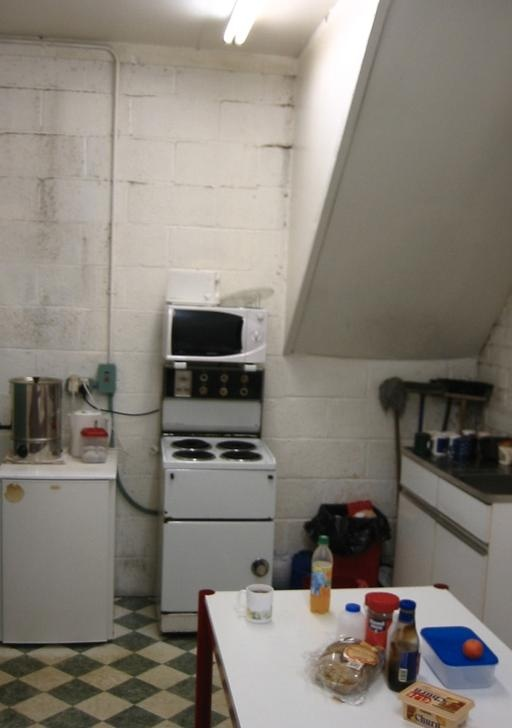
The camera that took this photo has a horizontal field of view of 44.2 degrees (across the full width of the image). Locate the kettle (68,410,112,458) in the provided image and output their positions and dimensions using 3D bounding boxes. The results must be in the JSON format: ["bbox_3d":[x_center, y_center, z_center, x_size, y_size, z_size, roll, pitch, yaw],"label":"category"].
[{"bbox_3d":[-0.821,0.326,3.015,0.271,0.256,0.144,1,3,-16],"label":"kettle"}]

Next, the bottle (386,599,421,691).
[{"bbox_3d":[0.320,0.601,1.370,0.073,0.197,0.154,4,3,16],"label":"bottle"}]

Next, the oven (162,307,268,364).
[{"bbox_3d":[-0.204,-0.138,3.027,0.431,0.260,0.294,1,-1,-14],"label":"oven"}]

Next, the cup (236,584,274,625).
[{"bbox_3d":[-0.004,0.634,1.676,0.117,0.081,0.073,-1,-2,36],"label":"cup"}]

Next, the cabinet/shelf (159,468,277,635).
[{"bbox_3d":[-0.212,0.880,3.165,0.716,0.961,0.683,1,-7,-9],"label":"cabinet/shelf"}]

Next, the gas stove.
[{"bbox_3d":[-0.195,0.426,3.055,0.521,0.063,0.526,2,3,-8],"label":"gas stove"}]

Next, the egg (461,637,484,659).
[{"bbox_3d":[0.473,0.622,1.373,0.036,0.041,0.035,7,-6,8],"label":"egg"}]

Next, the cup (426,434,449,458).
[{"bbox_3d":[0.899,0.409,3.143,0.098,0.111,0.115,-1,4,-3],"label":"cup"}]
